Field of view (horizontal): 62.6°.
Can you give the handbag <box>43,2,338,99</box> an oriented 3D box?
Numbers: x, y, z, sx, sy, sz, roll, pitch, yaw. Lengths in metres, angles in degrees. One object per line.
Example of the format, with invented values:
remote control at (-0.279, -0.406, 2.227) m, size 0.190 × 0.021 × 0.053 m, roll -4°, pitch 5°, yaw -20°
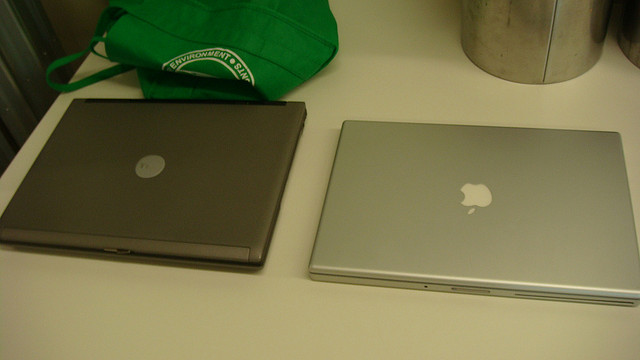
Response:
handbag at (-0.321, -0.344, 1.319) m, size 0.458 × 0.409 × 0.119 m, roll 6°, pitch -37°, yaw 21°
